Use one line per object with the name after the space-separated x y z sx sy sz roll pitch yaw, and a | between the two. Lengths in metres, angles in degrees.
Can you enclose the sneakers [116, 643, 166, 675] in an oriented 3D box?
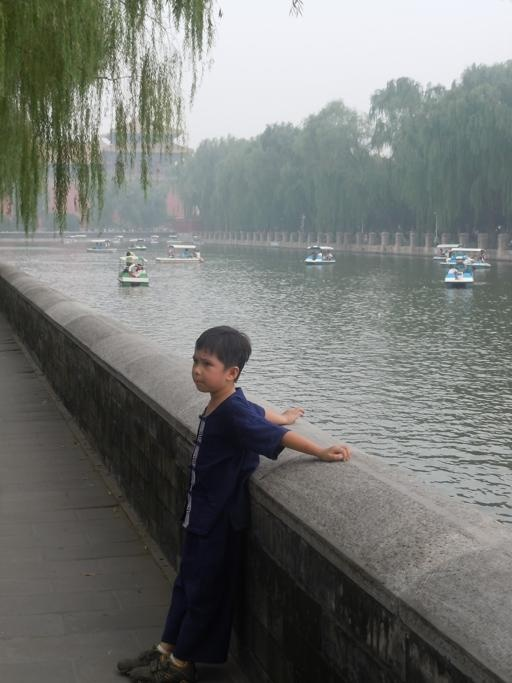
-0.317 0.872 2.045 0.132 0.075 0.048 -7 21 -37 | sneakers
